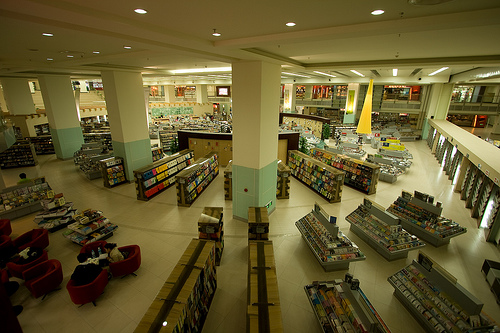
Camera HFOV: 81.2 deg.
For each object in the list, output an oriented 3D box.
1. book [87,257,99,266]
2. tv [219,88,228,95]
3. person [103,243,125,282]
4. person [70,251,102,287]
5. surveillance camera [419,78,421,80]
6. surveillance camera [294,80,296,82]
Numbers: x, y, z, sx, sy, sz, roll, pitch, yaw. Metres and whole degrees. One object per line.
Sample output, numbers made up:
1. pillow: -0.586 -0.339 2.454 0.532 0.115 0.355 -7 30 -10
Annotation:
1. book: -4.904 2.987 9.152 0.213 0.056 0.211 9 23 8
2. tv: -3.276 -9.172 35.614 0.995 0.838 0.097 1 11 4
3. person: -4.384 3.001 9.233 0.654 0.988 0.672 -2 10 27
4. person: -4.960 3.101 8.835 0.821 0.499 1.005 -6 17 -16
5. surveillance camera: 12.442 -6.427 21.390 0.160 0.160 0.161 8 20 40
6. surveillance camera: 3.912 -7.544 25.611 0.129 0.127 0.140 9 12 13
